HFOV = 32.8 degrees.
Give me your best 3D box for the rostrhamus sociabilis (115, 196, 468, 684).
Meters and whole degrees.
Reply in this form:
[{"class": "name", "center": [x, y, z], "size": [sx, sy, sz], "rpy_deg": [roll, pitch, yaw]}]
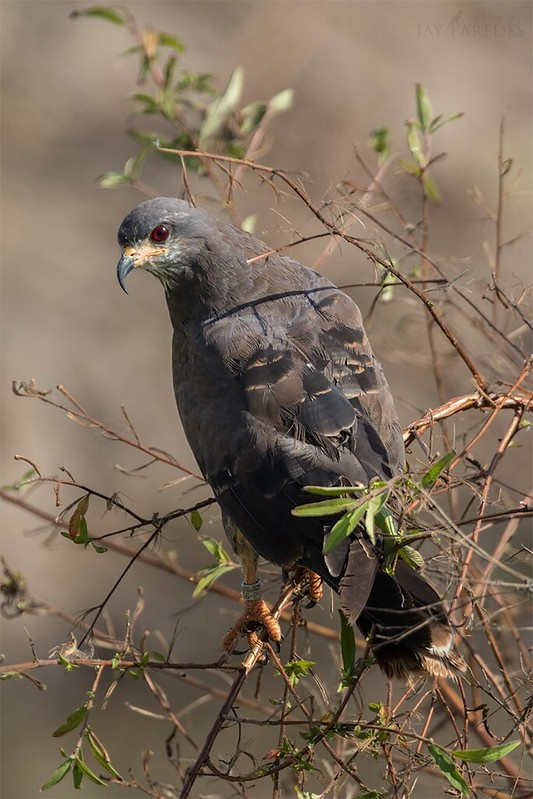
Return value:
[{"class": "rostrhamus sociabilis", "center": [-0.008, 0.094, 3.376], "size": [0.823, 2.127, 0.737], "rpy_deg": [-33, -36, 21]}]
